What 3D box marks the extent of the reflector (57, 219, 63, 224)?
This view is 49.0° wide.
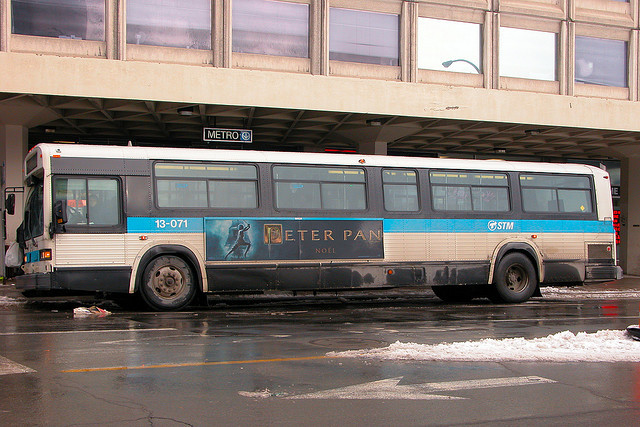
[{"bbox_3d":[-6.597,0.183,17.767,0.110,0.096,0.024,0,8,-14],"label":"reflector"}]

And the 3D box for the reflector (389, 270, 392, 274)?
[{"bbox_3d":[2.029,1.688,20.380,0.112,0.102,0.036,21,-5,-3],"label":"reflector"}]

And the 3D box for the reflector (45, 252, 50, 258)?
[{"bbox_3d":[-6.895,1.033,17.740,0.156,0.137,0.040,3,-1,-7],"label":"reflector"}]
